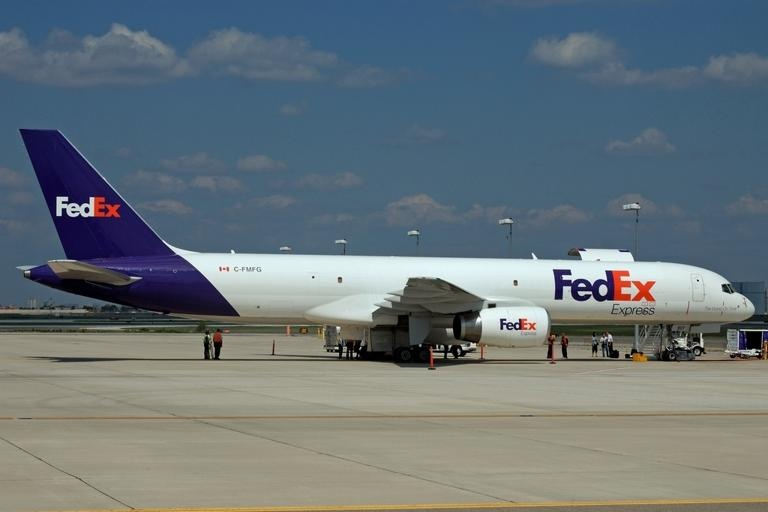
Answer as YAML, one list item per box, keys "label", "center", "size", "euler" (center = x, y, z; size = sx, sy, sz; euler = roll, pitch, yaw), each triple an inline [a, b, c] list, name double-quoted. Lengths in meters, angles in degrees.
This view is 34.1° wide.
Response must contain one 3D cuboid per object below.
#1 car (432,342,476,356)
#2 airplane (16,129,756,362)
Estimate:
- label: "car"
  center: [2.895, 4.068, 54.329]
  size: [2.184, 0.640, 0.923]
  euler: [1, -1, 12]
- label: "airplane"
  center: [1.184, -0.355, 46.966]
  size: [29.267, 7.595, 4.894]
  euler: [2, -9, -11]
